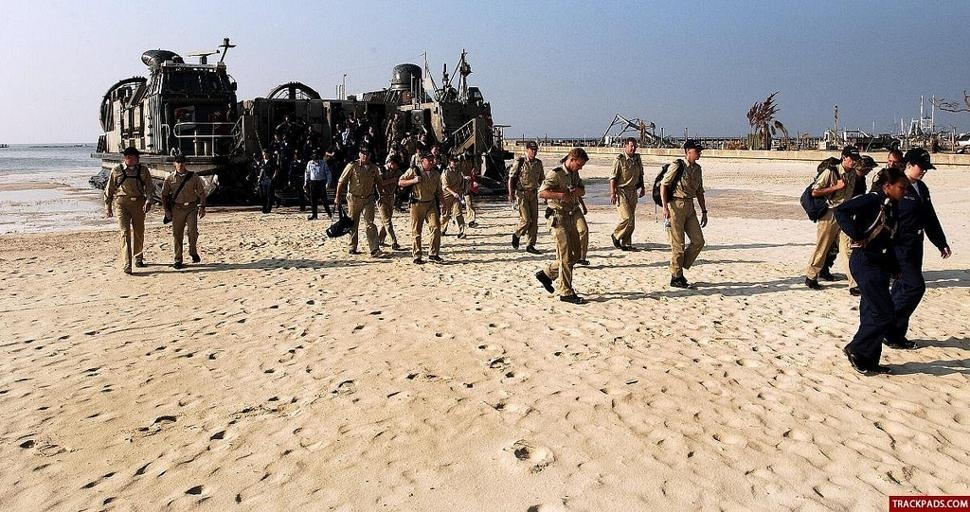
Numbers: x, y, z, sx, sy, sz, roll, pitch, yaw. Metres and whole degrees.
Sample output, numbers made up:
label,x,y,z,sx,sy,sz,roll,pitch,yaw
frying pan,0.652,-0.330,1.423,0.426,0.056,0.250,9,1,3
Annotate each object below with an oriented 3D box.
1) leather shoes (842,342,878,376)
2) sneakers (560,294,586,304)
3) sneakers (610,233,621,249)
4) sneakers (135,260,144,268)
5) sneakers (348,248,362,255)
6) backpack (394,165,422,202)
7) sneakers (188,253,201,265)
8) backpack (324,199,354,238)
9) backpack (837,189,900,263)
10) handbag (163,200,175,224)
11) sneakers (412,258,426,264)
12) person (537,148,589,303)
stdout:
label,x,y,z,sx,sy,sz,roll,pitch,yaw
leather shoes,5.029,1.406,8.600,0.591,0.234,0.195,28,5,14
sneakers,1.534,0.754,10.923,0.456,0.168,0.168,0,3,12
sneakers,3.029,-0.334,14.526,0.165,0.378,0.142,-17,22,35
sneakers,-7.379,0.174,13.415,0.176,0.155,0.167,-2,-7,15
sneakers,-3.057,-0.106,14.664,0.191,0.122,0.232,3,-1,-16
backpack,-1.594,-1.511,13.380,0.532,0.755,0.371,-6,16,-23
sneakers,-6.359,0.033,13.823,0.162,0.244,0.261,26,37,24
backpack,-3.273,-0.765,14.208,0.515,0.704,0.460,13,19,42
backpack,5.279,-0.418,8.576,0.886,0.865,0.455,-5,15,-21
handbag,-6.852,-0.975,13.593,0.255,0.583,0.465,0,11,-35
sneakers,-1.436,0.103,13.588,0.259,0.108,0.328,-3,14,-16
person,1.347,-0.566,10.989,0.801,2.631,0.981,2,15,5
